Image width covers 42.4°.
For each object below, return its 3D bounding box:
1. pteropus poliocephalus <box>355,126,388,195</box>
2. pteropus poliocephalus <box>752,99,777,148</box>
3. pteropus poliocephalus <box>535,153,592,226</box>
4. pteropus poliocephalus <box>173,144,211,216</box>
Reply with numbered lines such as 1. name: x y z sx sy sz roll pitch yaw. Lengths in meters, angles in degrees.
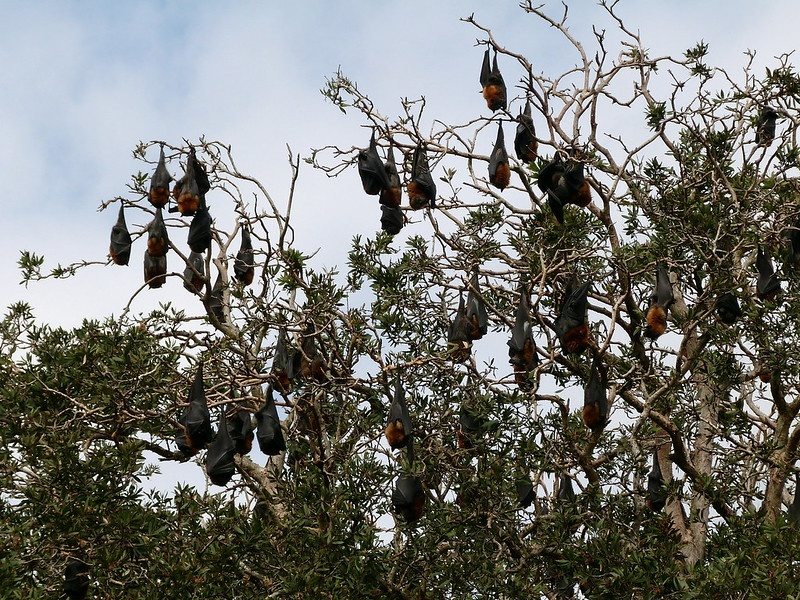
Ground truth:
1. pteropus poliocephalus: -0.443 -1.684 12.914 0.394 0.830 0.464 -5 12 9
2. pteropus poliocephalus: 5.099 -2.485 14.389 0.276 0.817 0.371 6 -28 9
3. pteropus poliocephalus: 1.854 -1.340 11.842 0.645 0.664 0.643 -22 -34 26
4. pteropus poliocephalus: -2.697 -1.554 12.898 0.495 0.468 1.140 4 -62 -11
